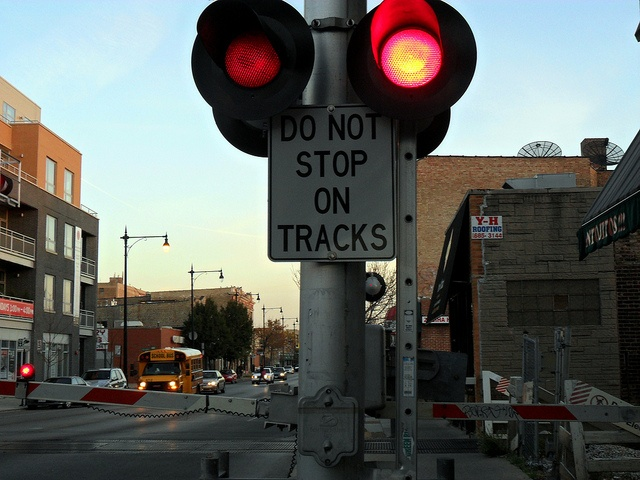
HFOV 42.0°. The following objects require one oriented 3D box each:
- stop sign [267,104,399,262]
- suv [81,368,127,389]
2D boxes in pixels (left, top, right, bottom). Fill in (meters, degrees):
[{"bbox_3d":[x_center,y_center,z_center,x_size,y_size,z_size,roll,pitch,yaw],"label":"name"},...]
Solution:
[{"bbox_3d":[0.084,-0.440,6.430,0.970,1.178,0.194,0,-12,2],"label":"stop sign"},{"bbox_3d":[-9.937,6.330,38.737,1.848,1.066,4.132,3,-14,-15],"label":"suv"}]
